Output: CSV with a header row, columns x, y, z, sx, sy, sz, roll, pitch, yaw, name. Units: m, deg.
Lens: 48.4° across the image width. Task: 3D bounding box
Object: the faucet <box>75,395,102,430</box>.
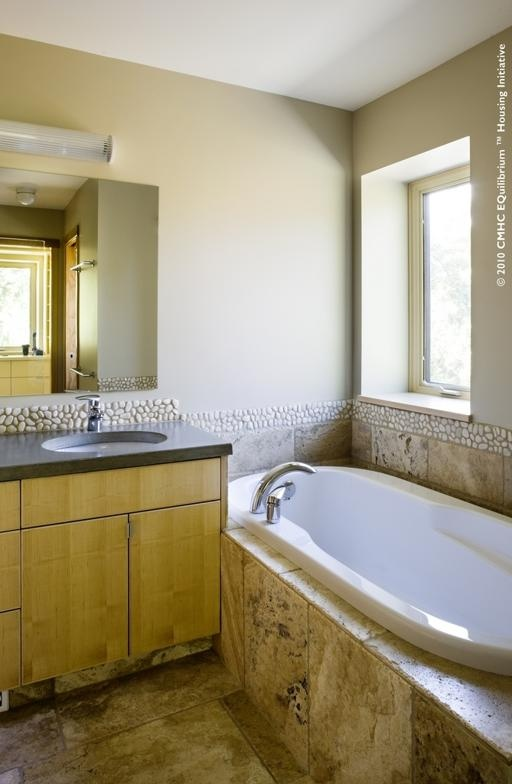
x,y,z,sx,sy,sz,roll,pitch,yaw,name
-0.642,0.080,2.193,0.097,0.132,0.130,-1,2,-18,faucet
